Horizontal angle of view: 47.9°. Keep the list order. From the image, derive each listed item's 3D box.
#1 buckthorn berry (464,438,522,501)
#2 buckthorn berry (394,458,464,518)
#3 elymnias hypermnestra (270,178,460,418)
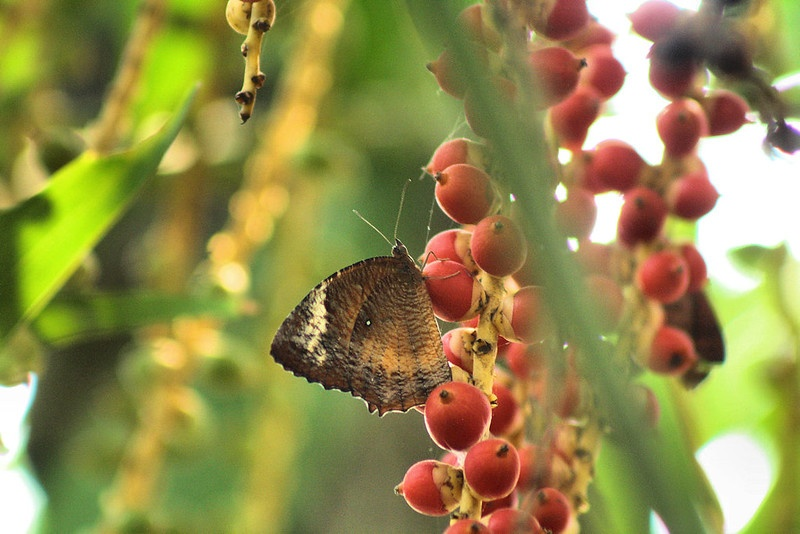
[{"bbox_3d":[0.101,0.214,0.984,0.046,0.054,0.064,17,40,15],"label":"buckthorn berry"},{"bbox_3d":[0.032,0.240,0.976,0.063,0.054,0.048,-8,4,12],"label":"buckthorn berry"},{"bbox_3d":[-0.027,0.037,1.122,0.138,0.229,0.209,14,-6,-29],"label":"elymnias hypermnestra"}]
